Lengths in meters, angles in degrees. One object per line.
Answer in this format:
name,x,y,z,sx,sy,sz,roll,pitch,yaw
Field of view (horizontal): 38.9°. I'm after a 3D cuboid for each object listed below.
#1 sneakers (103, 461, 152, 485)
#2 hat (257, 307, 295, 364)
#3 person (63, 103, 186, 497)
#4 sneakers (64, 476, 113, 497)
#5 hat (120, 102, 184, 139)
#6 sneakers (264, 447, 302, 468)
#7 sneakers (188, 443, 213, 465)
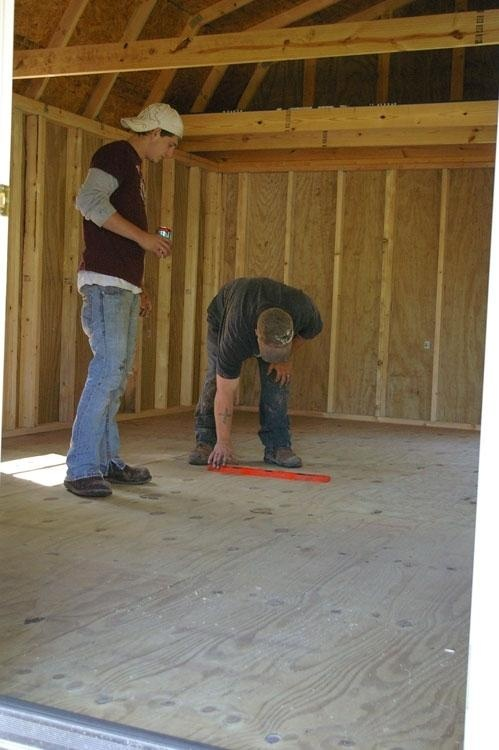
sneakers,-0.502,0.404,2.921,0.190,0.072,0.078,0,2,-6
hat,0.108,-0.163,2.898,0.161,0.209,0.120,-4,13,-9
person,-0.511,-0.327,2.768,0.390,1.260,0.446,6,-3,-7
sneakers,-0.602,0.416,2.633,0.178,0.065,0.069,-2,-4,28
hat,-0.385,-0.994,2.809,0.210,0.102,0.131,10,23,-22
sneakers,0.164,0.410,3.456,0.076,0.082,0.202,-4,-2,-35
sneakers,-0.234,0.392,3.457,0.080,0.087,0.209,0,-6,7
